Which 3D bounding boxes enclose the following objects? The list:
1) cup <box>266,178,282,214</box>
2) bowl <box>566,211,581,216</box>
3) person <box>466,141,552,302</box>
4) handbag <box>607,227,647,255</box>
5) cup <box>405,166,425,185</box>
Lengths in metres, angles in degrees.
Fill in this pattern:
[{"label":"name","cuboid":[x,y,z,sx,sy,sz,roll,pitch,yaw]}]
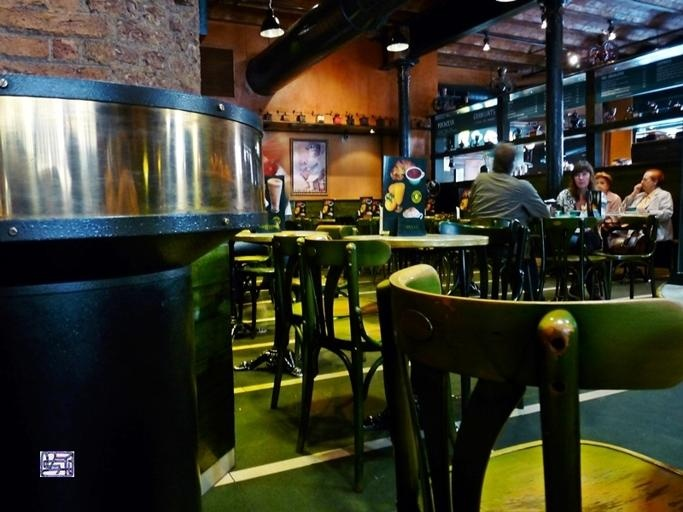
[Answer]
[{"label":"cup","cuboid":[-0.586,-0.536,5.073,0.141,0.254,0.151,7,24,-3]},{"label":"bowl","cuboid":[2.183,-0.403,5.377,0.086,0.022,0.085,-3,3,0]},{"label":"person","cuboid":[1.422,-0.468,4.868,0.546,0.902,0.636,-10,17,-35]},{"label":"handbag","cuboid":[2.367,-0.116,4.765,0.231,0.248,0.226,1,-10,23]},{"label":"cup","cuboid":[0.394,-0.442,3.109,0.095,0.066,0.091,-1,32,0]}]
